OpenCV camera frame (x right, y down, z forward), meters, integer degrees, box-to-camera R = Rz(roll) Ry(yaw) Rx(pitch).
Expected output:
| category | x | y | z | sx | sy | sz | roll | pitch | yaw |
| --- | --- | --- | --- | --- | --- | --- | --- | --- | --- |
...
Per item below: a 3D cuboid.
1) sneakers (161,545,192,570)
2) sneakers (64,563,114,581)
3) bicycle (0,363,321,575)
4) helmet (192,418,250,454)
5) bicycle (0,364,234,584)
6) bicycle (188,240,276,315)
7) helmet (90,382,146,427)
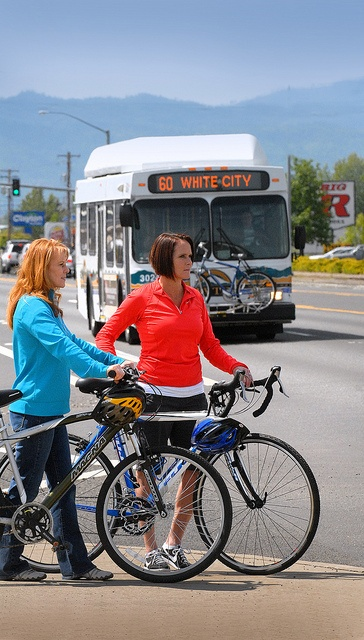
| category | x | y | z | sx | sy | sz | roll | pitch | yaw |
| --- | --- | --- | --- | --- | --- | --- | --- | --- | --- |
| sneakers | -0.028 | 1.112 | 3.188 | 0.056 | 0.070 | 0.168 | 12 | 4 | -43 |
| sneakers | -0.444 | 1.180 | 3.167 | 0.203 | 0.089 | 0.078 | -5 | -4 | 7 |
| bicycle | 0.113 | 0.743 | 3.523 | 1.769 | 1.223 | 0.815 | -3 | 1 | 1 |
| helmet | 0.169 | 0.535 | 3.204 | 0.211 | 0.115 | 0.157 | -8 | 18 | -22 |
| bicycle | -0.318 | 0.695 | 3.089 | 1.350 | 0.899 | 0.638 | 0 | -2 | 6 |
| bicycle | 0.950 | -0.907 | 14.964 | 2.291 | 1.564 | 1.066 | -1 | -12 | 4 |
| helmet | -0.292 | 0.375 | 3.049 | 0.252 | 0.175 | 0.225 | -9 | 17 | -43 |
